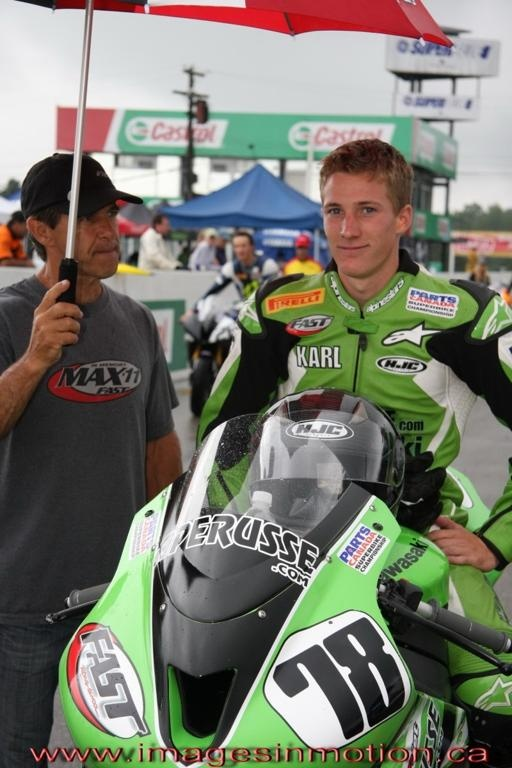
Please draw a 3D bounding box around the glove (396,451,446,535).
[{"bbox_3d":[0.444,0.283,1.921,0.091,0.200,0.175,18,-5,1],"label":"glove"}]

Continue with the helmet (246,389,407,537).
[{"bbox_3d":[0.203,0.166,1.574,0.262,0.272,0.319,-2,-23,25],"label":"helmet"}]

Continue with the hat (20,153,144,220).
[{"bbox_3d":[-0.605,-0.652,2.416,0.343,0.179,0.240,-3,12,17],"label":"hat"}]
